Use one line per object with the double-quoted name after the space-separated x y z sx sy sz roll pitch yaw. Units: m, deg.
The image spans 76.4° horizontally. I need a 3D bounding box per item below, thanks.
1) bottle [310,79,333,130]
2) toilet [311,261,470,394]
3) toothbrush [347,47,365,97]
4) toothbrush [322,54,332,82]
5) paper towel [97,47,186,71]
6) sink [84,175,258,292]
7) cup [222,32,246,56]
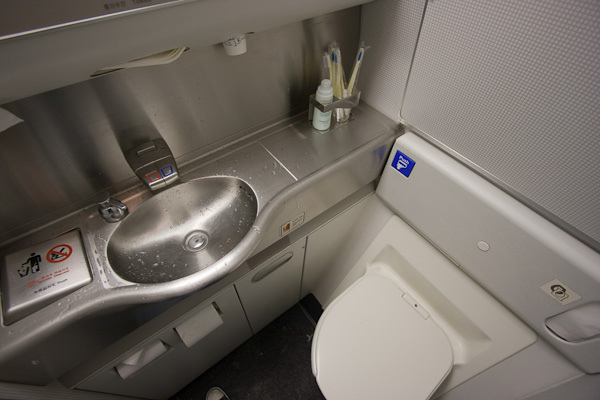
0.094 -0.404 1.655 0.084 0.220 0.086 2 52 -2 "bottle"
0.356 0.698 1.734 0.617 0.261 0.578 -35 61 -23 "toilet"
0.224 -0.534 1.652 0.023 0.242 0.045 -26 61 -30 "toothbrush"
0.116 -0.560 1.615 0.022 0.098 0.056 -28 57 -20 "toothbrush"
-0.503 -0.465 1.271 0.247 0.059 0.057 -14 54 -11 "paper towel"
-0.486 0.097 1.511 0.632 0.191 0.349 -27 58 -19 "sink"
-0.236 -0.561 1.372 0.069 0.068 0.071 -1 72 3 "cup"
